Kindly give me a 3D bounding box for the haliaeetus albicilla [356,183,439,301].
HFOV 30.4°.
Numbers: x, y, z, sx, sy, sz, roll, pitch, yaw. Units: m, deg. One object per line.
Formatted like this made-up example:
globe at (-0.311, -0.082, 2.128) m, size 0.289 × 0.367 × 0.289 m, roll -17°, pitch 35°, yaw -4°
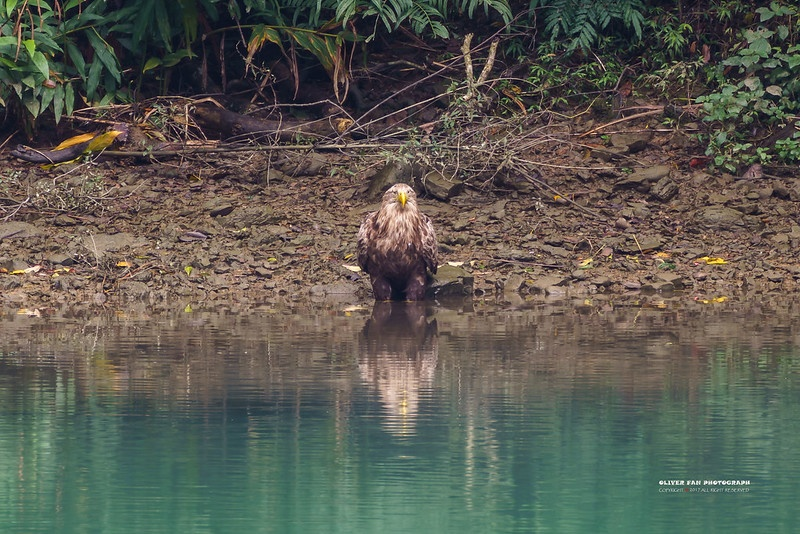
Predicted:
haliaeetus albicilla at (-0.069, -0.275, 17.221) m, size 0.902 × 1.423 × 0.815 m, roll 5°, pitch 13°, yaw 26°
